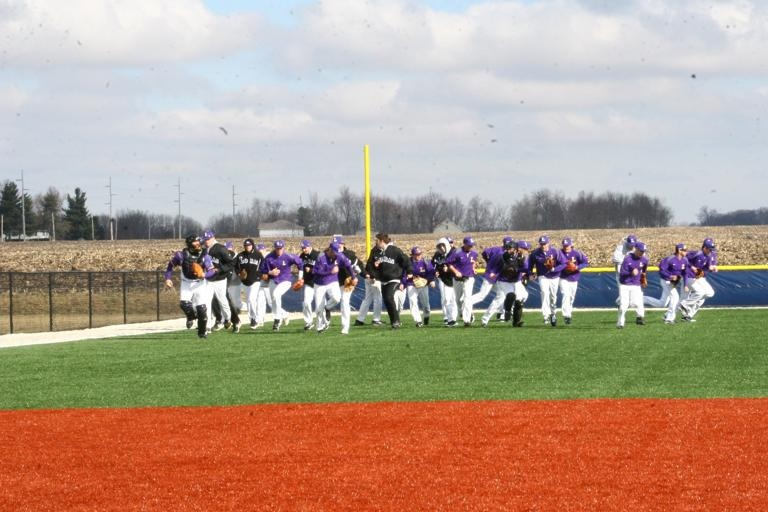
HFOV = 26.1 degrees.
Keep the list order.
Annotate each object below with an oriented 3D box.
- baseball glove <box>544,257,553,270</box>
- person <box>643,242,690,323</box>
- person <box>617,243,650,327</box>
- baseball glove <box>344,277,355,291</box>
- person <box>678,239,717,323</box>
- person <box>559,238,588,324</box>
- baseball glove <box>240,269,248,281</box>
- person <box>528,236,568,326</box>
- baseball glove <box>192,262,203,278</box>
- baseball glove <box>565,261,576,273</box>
[{"bbox_3d":[4.915,0.097,49.440,0.229,0.289,0.114,-12,-13,38],"label":"baseball glove"},{"bbox_3d":[8.805,0.662,50.946,1.253,2.504,1.397,-1,-1,3],"label":"person"},{"bbox_3d":[7.393,0.743,49.266,1.031,2.453,1.236,0,-1,7],"label":"person"},{"bbox_3d":[-0.980,0.719,48.919,0.288,0.378,0.172,4,-16,34],"label":"baseball glove"},{"bbox_3d":[9.686,0.633,50.865,1.195,2.543,1.003,-1,0,4],"label":"person"},{"bbox_3d":[5.656,0.604,50.439,1.156,2.526,1.319,1,6,11],"label":"person"},{"bbox_3d":[-4.351,0.461,50.849,0.293,0.270,0.070,2,-4,42],"label":"baseball glove"},{"bbox_3d":[4.927,0.640,50.014,1.061,2.702,1.193,0,-1,5],"label":"person"},{"bbox_3d":[-5.409,0.321,47.988,0.151,0.431,0.322,-31,24,8],"label":"baseball glove"},{"bbox_3d":[5.631,0.209,49.833,0.301,0.308,0.230,6,6,-4],"label":"baseball glove"}]
